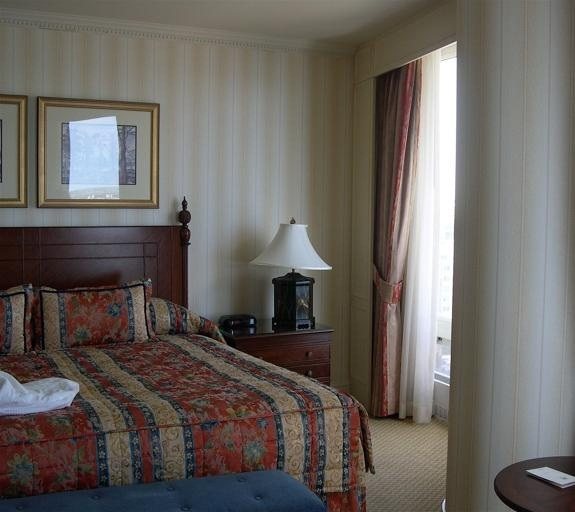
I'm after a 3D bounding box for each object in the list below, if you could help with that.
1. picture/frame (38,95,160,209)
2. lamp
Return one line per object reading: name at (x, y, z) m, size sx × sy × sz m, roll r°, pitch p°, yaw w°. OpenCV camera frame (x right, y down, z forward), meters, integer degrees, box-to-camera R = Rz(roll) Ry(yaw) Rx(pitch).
picture/frame at (-1.379, -0.744, 3.651) m, size 0.628 × 0.795 × 0.047 m, roll -1°, pitch 2°, yaw -21°
lamp at (0.016, 0.129, 3.996) m, size 0.607 × 0.976 × 0.651 m, roll 0°, pitch -1°, yaw -35°
